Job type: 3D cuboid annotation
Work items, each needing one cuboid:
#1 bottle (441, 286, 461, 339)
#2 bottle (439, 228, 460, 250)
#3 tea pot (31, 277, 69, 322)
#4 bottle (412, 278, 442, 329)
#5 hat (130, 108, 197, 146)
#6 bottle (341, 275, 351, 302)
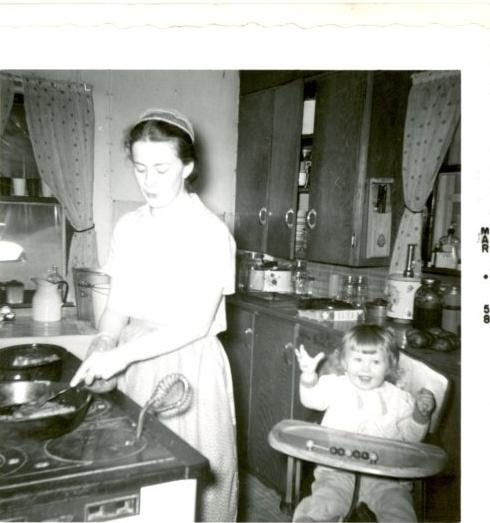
[{"bbox_3d":[0.653,0.154,1.607,0.053,0.148,0.086,2,2,24],"label":"bottle"},{"bbox_3d":[0.745,-0.082,1.850,0.066,0.083,0.050,6,-7,-39],"label":"bottle"},{"bbox_3d":[-0.833,0.165,2.130,0.175,0.223,0.108,3,0,-34],"label":"tea pot"},{"bbox_3d":[0.613,0.142,1.671,0.074,0.166,0.134,1,1,-8],"label":"bottle"},{"bbox_3d":[-0.175,-0.307,1.122,0.124,0.071,0.070,1,1,-16],"label":"hat"},{"bbox_3d":[0.490,0.126,2.435,0.047,0.118,0.192,2,1,11],"label":"bottle"}]
